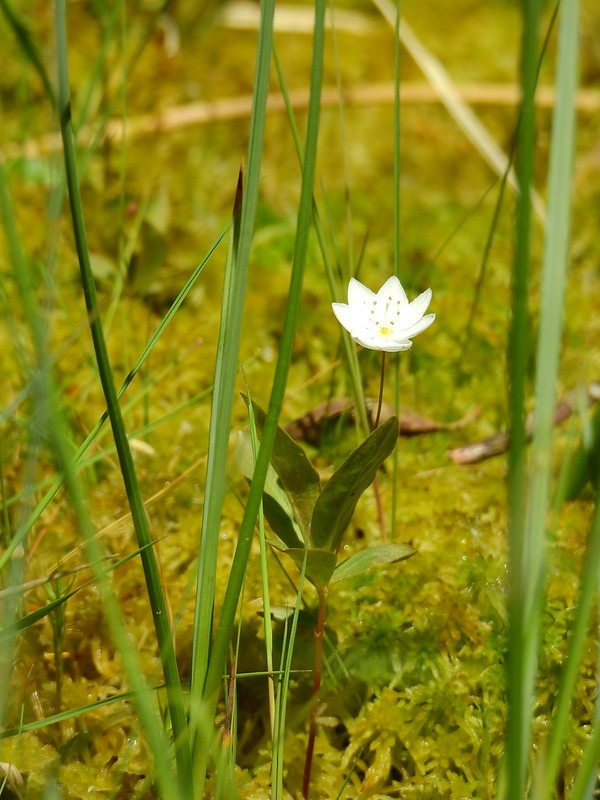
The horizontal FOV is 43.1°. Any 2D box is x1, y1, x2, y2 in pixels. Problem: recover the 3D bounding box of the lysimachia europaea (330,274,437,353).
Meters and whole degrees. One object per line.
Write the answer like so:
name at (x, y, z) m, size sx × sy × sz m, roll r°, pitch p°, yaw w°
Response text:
lysimachia europaea at (0.114, -0.118, 1.016) m, size 0.147 × 0.069 × 0.137 m, roll 12°, pitch -16°, yaw -16°
